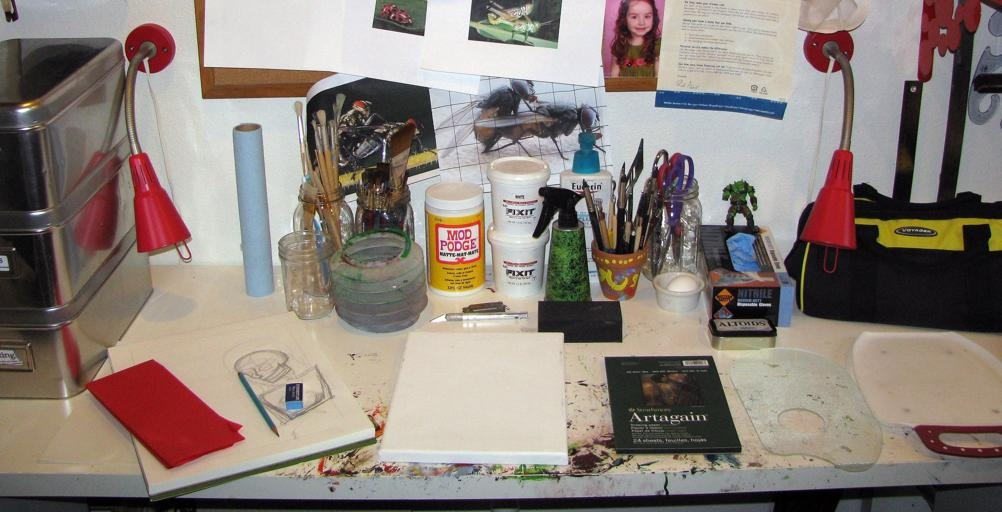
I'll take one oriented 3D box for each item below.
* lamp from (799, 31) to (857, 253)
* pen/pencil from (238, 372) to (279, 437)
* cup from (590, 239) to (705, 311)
[{"bbox_3d":[0.811,-0.266,1.637,0.140,0.477,0.319,9,23,22],"label":"lamp"},{"bbox_3d":[-0.517,0.320,1.440,0.017,0.013,0.166,-16,45,-39],"label":"pen/pencil"},{"bbox_3d":[0.354,0.044,1.679,0.282,0.107,0.153,1,27,9],"label":"cup"}]
